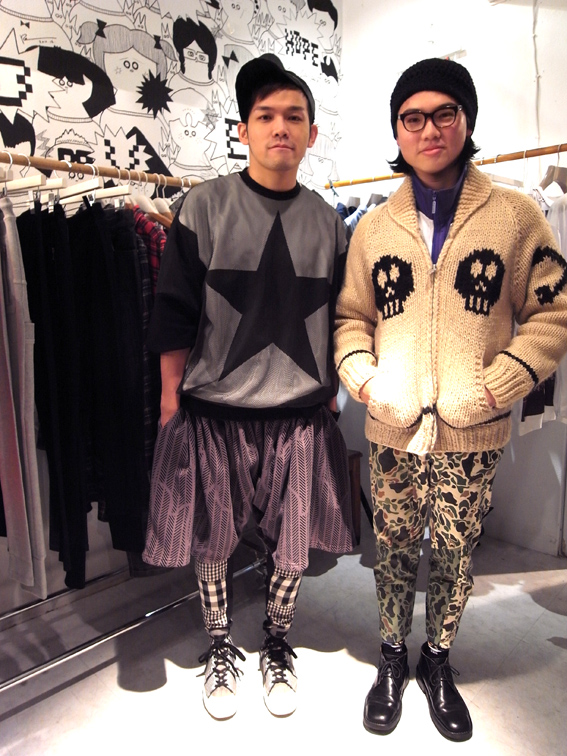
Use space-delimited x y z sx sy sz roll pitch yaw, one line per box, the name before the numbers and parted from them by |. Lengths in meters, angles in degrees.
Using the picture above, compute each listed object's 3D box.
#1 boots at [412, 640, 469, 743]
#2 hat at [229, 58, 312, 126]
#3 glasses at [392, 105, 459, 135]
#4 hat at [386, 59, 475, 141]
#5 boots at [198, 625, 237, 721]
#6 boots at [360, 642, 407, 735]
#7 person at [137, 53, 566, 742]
boots | 0.415 0.811 1.449 0.077 0.144 0.284 1 2 -2
hat | -0.033 -0.698 1.309 0.187 0.146 0.152 -1 6 -2
glasses | 0.313 -0.567 1.208 0.127 0.052 0.035 1 5 21
hat | 0.354 -0.678 1.267 0.127 0.144 0.156 10 -3 36
boots | -0.188 0.801 1.558 0.099 0.149 0.296 -1 9 -7
boots | 0.264 0.815 1.469 0.067 0.121 0.235 0 9 16
person | 0.138 0.064 1.366 1.041 1.672 0.406 1 5 20
